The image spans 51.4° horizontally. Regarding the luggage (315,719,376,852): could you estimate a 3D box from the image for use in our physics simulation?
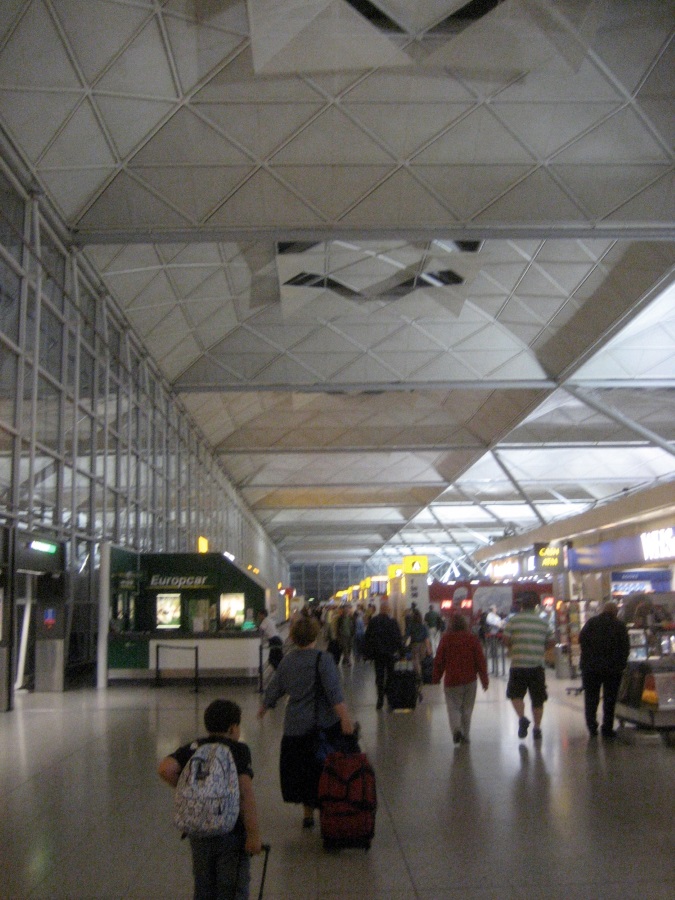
[{"bbox_3d":[0.060,2.271,4.309,0.346,0.574,0.218,-2,-11,-3],"label":"luggage"}]

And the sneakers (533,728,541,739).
[{"bbox_3d":[2.475,3.696,8.703,0.095,0.119,0.268,-6,-12,15],"label":"sneakers"}]

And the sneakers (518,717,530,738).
[{"bbox_3d":[2.332,3.649,8.782,0.123,0.358,0.137,0,-1,-11],"label":"sneakers"}]

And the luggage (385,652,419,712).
[{"bbox_3d":[1.139,4.355,12.340,0.526,0.770,0.476,-4,15,-14],"label":"luggage"}]

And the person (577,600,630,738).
[{"bbox_3d":[3.486,2.987,9.130,0.620,1.694,0.510,-6,-12,19],"label":"person"}]

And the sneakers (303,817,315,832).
[{"bbox_3d":[-0.198,2.697,4.832,0.045,0.051,0.130,3,1,3],"label":"sneakers"}]

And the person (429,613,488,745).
[{"bbox_3d":[1.523,2.969,8.696,0.661,1.624,1.057,-4,-11,9],"label":"person"}]

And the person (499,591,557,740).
[{"bbox_3d":[2.484,2.899,9.034,0.615,1.901,0.682,-3,-11,3],"label":"person"}]

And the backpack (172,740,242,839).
[{"bbox_3d":[-0.438,1.171,2.336,0.193,0.292,0.165,-17,-34,35],"label":"backpack"}]
